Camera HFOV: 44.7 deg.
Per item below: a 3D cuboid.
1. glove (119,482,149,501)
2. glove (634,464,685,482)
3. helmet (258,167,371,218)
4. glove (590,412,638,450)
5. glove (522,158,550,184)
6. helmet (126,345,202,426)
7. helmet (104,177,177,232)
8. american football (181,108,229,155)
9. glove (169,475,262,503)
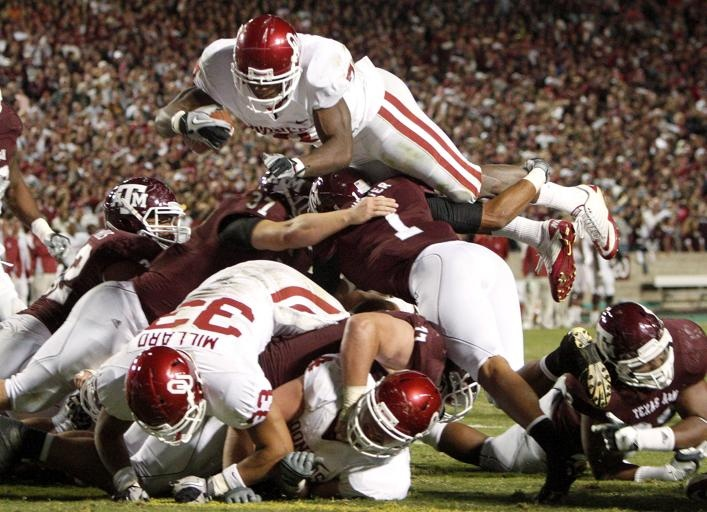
[{"bbox_3d":[-1.137,1.215,4.466,0.145,0.059,0.083,0,7,-7],"label":"glove"},{"bbox_3d":[1.698,1.205,4.778,0.192,0.073,0.113,-2,-5,9],"label":"glove"},{"bbox_3d":[-0.206,-0.392,5.264,0.462,0.152,0.340,-10,4,4],"label":"helmet"},{"bbox_3d":[1.345,0.935,4.425,0.235,0.167,0.115,27,62,36],"label":"glove"},{"bbox_3d":[1.271,-0.600,6.057,0.190,0.161,0.137,0,29,2],"label":"glove"},{"bbox_3d":[-0.936,0.654,4.288,0.380,0.324,0.264,7,32,-10],"label":"helmet"},{"bbox_3d":[-1.379,-0.346,5.546,0.452,0.335,0.320,-7,5,6],"label":"helmet"},{"bbox_3d":[-1.002,-0.889,5.826,0.181,0.207,0.404,-46,23,-14],"label":"american football"},{"bbox_3d":[-0.711,1.165,4.377,0.322,0.089,0.178,2,18,-13],"label":"glove"}]
